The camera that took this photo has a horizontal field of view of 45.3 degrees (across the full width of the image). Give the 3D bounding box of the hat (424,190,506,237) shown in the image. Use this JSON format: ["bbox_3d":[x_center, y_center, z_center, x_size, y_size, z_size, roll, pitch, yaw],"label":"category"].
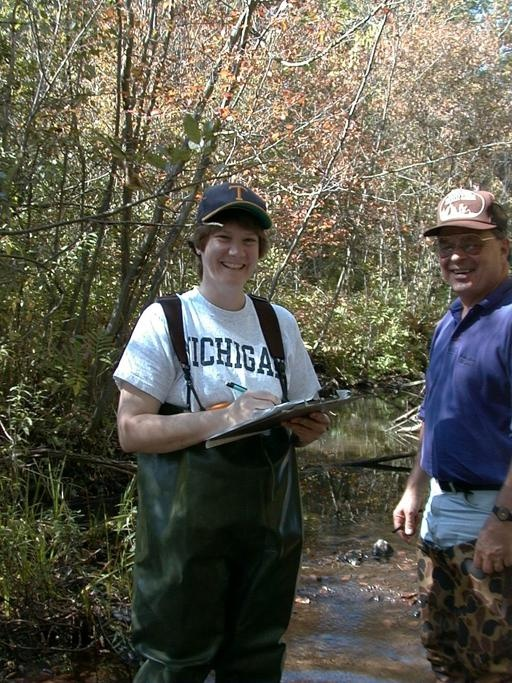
[{"bbox_3d":[0.796,-0.506,2.363,0.358,0.162,0.243,-16,17,-42],"label":"hat"}]

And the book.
[{"bbox_3d":[0.058,0.222,1.700,0.470,0.183,0.214,4,5,-38],"label":"book"}]
